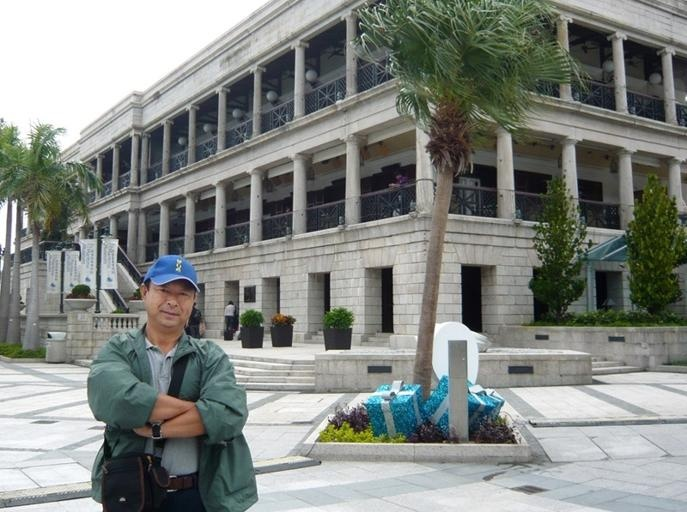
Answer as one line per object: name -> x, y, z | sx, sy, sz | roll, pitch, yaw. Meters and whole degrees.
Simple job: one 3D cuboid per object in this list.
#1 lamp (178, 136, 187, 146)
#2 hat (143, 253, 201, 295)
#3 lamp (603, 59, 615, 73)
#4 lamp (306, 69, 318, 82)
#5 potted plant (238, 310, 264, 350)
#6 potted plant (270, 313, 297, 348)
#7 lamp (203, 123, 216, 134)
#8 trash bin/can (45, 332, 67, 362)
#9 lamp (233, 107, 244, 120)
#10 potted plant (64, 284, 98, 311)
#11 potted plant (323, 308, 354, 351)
lamp -> -11.075, -7.901, 40.355 | 0.532, 0.639, 1.743 | 7, -1, -16
hat -> -1.331, 0.124, 4.532 | 0.361, 0.277, 0.499 | 11, -2, -33
lamp -> 12.516, -9.070, 27.779 | 0.450, 0.691, 0.970 | 7, 0, 20
lamp -> -1.675, -9.213, 30.114 | 0.597, 0.689, 0.600 | 13, 15, 36
potted plant -> -3.539, 2.800, 22.640 | 0.843, 1.337, 0.908 | -2, -5, 17
potted plant -> -2.427, 2.868, 22.933 | 0.796, 1.126, 0.829 | -1, -4, 20
lamp -> -8.831, -8.410, 38.612 | 0.648, 0.691, 2.407 | 7, -1, -13
trash bin/can -> -11.740, 3.746, 23.961 | 0.975, 1.167, 0.746 | 9, -17, -44
lamp -> -6.463, -8.533, 35.647 | 0.659, 0.699, 0.682 | 0, 32, -1
potted plant -> -11.411, 1.836, 25.203 | 1.295, 1.030, 1.300 | 1, -5, 11
potted plant -> -0.200, 2.448, 19.567 | 1.151, 1.403, 1.081 | -5, -11, 21
